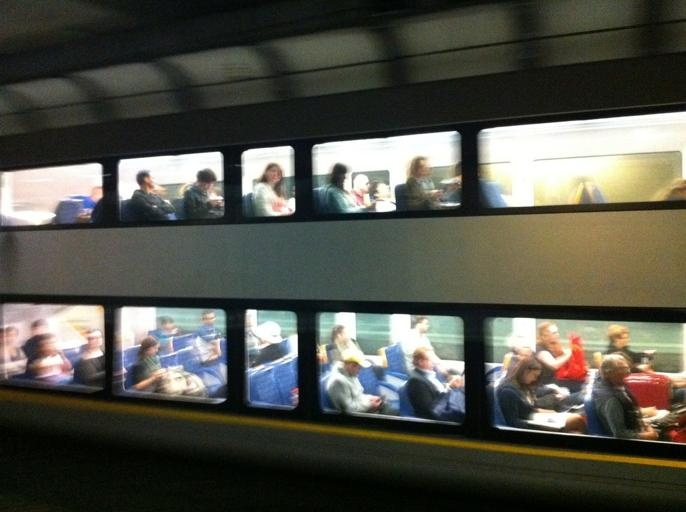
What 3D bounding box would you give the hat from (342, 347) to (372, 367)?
[{"bbox_3d":[0.126,0.849,5.741,0.217,0.068,0.136,19,13,-5],"label":"hat"}]
